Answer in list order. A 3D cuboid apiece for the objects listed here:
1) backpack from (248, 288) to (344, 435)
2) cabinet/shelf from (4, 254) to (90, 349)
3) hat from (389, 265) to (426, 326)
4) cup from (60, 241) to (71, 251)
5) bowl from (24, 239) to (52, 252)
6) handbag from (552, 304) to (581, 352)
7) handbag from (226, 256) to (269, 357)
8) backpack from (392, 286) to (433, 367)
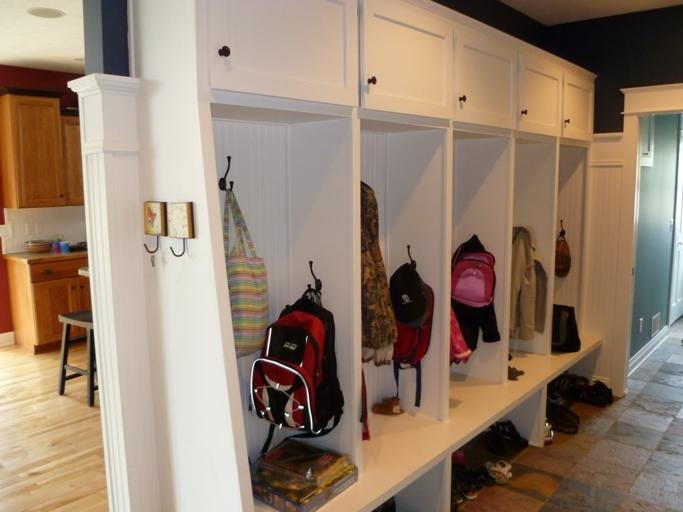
[{"bbox_3d":[-0.213,0.595,2.659,0.429,0.709,0.306,3,12,15],"label":"backpack"},{"bbox_3d":[-3.245,0.469,5.815,0.507,0.915,0.889,2,7,29],"label":"cabinet/shelf"},{"bbox_3d":[0.391,0.226,3.161,0.195,0.364,0.101,-13,-4,18],"label":"hat"},{"bbox_3d":[-3.236,-0.111,6.213,0.101,0.132,0.109,1,0,0],"label":"cup"},{"bbox_3d":[-3.567,-0.114,6.186,0.162,0.080,0.176,2,6,0],"label":"bowl"},{"bbox_3d":[1.884,0.612,4.440,0.340,0.454,0.238,-1,2,22],"label":"handbag"},{"bbox_3d":[-0.457,0.236,2.597,0.188,0.506,0.115,-3,12,-14],"label":"handbag"},{"bbox_3d":[0.435,0.424,3.248,0.276,0.455,0.124,-5,-2,32],"label":"backpack"}]
